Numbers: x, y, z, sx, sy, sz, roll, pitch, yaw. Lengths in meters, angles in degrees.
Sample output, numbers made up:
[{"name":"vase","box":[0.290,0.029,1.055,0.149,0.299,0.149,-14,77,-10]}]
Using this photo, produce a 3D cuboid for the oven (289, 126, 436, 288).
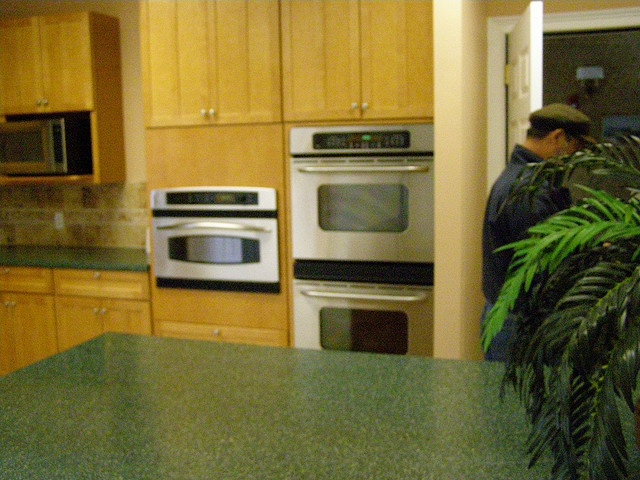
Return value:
[{"name":"oven","box":[0.347,-0.197,2.912,0.835,0.757,0.563,3,6,35]}]

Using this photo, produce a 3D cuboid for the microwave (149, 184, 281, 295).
[{"name":"microwave","box":[-0.482,-0.013,3.127,0.779,0.538,0.484,1,5,23]}]

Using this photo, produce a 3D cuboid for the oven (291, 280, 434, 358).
[{"name":"oven","box":[0.268,0.399,2.948,0.720,0.399,0.465,1,2,20]}]

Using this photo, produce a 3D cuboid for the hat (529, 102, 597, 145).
[{"name":"hat","box":[0.911,-0.429,2.106,0.232,0.113,0.162,2,11,4]}]
